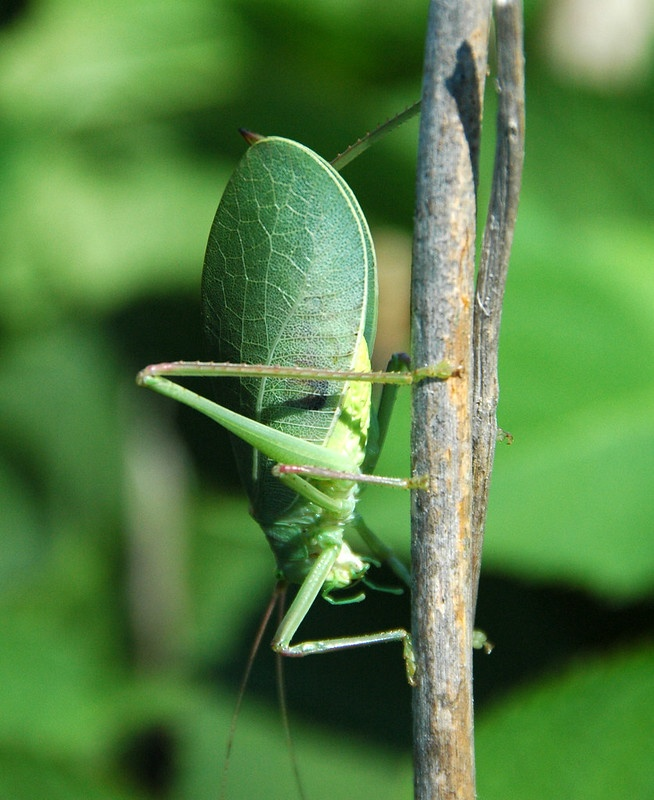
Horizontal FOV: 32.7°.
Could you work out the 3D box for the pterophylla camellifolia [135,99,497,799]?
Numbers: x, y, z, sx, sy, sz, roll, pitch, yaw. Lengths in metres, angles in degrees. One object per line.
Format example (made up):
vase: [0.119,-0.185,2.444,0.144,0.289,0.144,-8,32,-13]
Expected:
pterophylla camellifolia: [0.009,0.010,2.126,0.610,1.249,0.555,0,4,37]
